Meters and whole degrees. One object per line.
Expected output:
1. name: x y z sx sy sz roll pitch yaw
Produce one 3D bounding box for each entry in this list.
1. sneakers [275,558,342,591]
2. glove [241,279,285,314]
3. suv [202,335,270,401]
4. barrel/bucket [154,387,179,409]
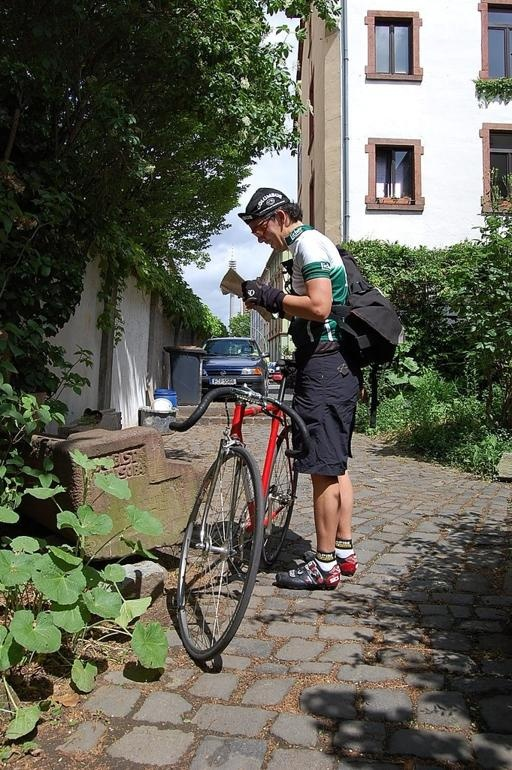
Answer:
1. sneakers: 0.253 0.927 2.976 0.362 0.181 0.132 3 -1 7
2. glove: 0.040 -0.429 2.775 0.192 0.130 0.075 24 40 19
3. suv: -0.422 -0.392 11.348 1.345 1.300 3.006 0 -3 2
4. barrel/bucket: -1.678 0.240 11.037 0.418 0.408 0.412 -2 -3 0
